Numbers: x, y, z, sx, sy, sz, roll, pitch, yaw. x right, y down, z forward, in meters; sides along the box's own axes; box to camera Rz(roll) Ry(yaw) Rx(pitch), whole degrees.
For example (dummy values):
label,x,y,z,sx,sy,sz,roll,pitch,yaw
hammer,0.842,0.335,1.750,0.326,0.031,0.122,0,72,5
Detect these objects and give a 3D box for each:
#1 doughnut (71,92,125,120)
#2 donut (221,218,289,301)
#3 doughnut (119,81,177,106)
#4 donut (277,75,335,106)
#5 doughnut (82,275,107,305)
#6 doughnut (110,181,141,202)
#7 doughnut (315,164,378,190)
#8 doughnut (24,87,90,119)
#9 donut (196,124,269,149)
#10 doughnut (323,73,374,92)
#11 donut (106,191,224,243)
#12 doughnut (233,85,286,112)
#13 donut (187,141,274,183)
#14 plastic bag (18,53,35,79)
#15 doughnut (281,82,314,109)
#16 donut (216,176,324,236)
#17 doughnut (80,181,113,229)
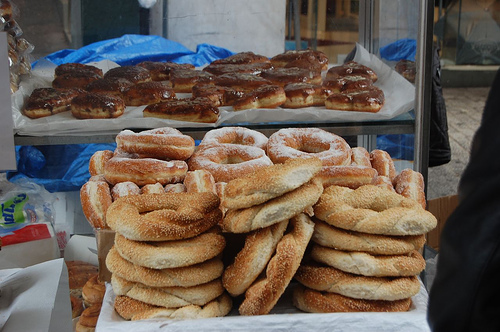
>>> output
label,x,y,z,sx,sy,sz,roll,pitch,yaw
doughnut,-0.677,-0.239,2.128,0.139,0.073,0.143,0,4,23
donut,0.005,0.257,1.351,0.211,0.069,0.236,5,41,9
doughnut,-0.467,-0.307,2.213,0.164,0.057,0.130,0,10,30
donut,0.266,-0.325,2.298,0.227,0.082,0.239,-13,13,-34
doughnut,-0.586,0.463,1.822,0.113,0.040,0.117,0,23,-3
doughnut,-0.408,0.072,1.576,0.066,0.026,0.069,15,36,21
doughnut,0.307,0.046,1.637,0.218,0.081,0.238,-1,-4,3
doughnut,-0.879,-0.282,2.146,0.145,0.053,0.174,3,20,3
donut,-0.042,-0.085,1.872,0.226,0.083,0.228,10,1,-38
doughnut,0.458,-0.381,2.322,0.239,0.076,0.238,7,19,28
donut,-0.260,0.134,1.452,0.354,0.108,0.328,-5,5,-43
doughnut,0.044,-0.299,2.187,0.163,0.061,0.132,-14,10,4
donut,-0.075,-0.015,1.674,0.297,0.090,0.198,-3,19,2
plastic bag,-1.016,-0.453,2.210,0.032,0.099,0.100,-3,1,19
doughnut,0.222,-0.315,2.205,0.116,0.079,0.119,0,29,4
donut,0.060,0.119,1.320,0.180,0.056,0.173,-23,-1,11
doughnut,-0.500,0.122,1.580,0.045,0.135,0.139,-21,-16,4
